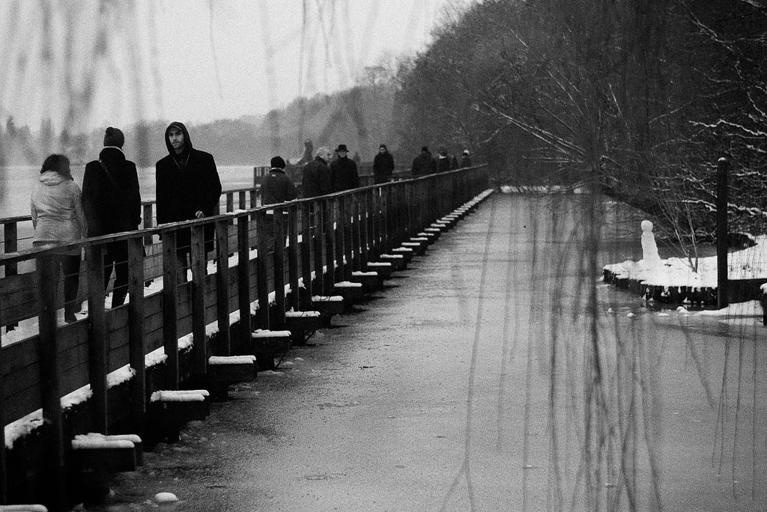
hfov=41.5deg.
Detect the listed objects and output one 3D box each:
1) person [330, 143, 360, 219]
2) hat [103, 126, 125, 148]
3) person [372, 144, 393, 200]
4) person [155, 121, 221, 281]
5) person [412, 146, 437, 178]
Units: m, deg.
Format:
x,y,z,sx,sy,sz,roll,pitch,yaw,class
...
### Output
x,y,z,sx,sy,sz,roll,pitch,yaw,class
-0.803,-1.413,20.218,0.508,1.756,0.406,2,32,-2,person
-2.999,-1.317,11.284,0.209,0.229,0.293,-2,5,-18,hat
-0.008,-2.327,28.970,0.581,1.926,0.487,2,-22,-2,person
-2.343,-0.480,12.022,0.664,2.279,0.692,2,27,0,person
1.428,-3.398,35.950,0.775,1.032,1.472,0,5,3,person
